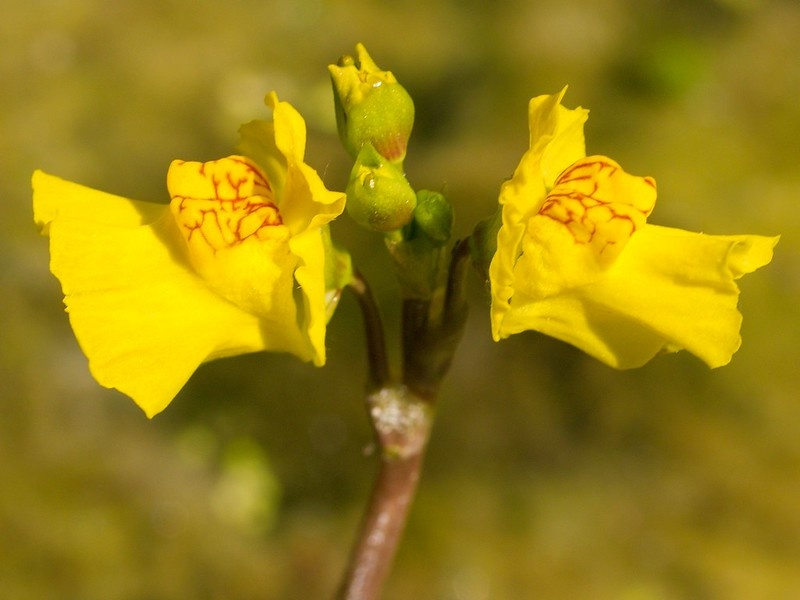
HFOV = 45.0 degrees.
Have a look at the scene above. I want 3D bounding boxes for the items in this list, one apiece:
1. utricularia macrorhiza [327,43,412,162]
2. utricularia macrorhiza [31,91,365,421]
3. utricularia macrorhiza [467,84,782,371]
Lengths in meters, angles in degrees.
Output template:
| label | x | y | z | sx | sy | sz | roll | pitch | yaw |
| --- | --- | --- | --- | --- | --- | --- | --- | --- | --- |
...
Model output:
| label | x | y | z | sx | sy | sz | roll | pitch | yaw |
| --- | --- | --- | --- | --- | --- | --- | --- | --- | --- |
| utricularia macrorhiza | -0.023 | -0.256 | 1.313 | 0.092 | 0.162 | 0.065 | -16 | 15 | 26 |
| utricularia macrorhiza | -0.281 | -0.071 | 1.250 | 0.421 | 0.407 | 0.199 | 5 | -35 | -2 |
| utricularia macrorhiza | 0.286 | -0.064 | 1.242 | 0.394 | 0.193 | 0.396 | 28 | 48 | 16 |
